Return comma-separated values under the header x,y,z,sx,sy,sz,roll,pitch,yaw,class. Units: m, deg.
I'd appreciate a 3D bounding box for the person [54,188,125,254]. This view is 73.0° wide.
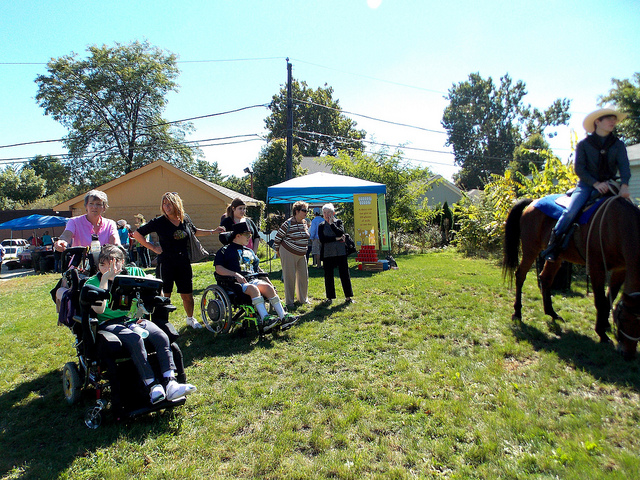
x,y,z,sx,sy,sz,roll,pitch,yaw,class
-3.229,-0.053,6.133,0.786,1.398,0.807,7,-9,-38,person

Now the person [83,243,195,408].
x,y,z,sx,sy,sz,roll,pitch,yaw,class
-2.258,1.011,5.259,1.340,1.783,0.657,6,14,30,person

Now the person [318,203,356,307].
x,y,z,sx,sy,sz,roll,pitch,yaw,class
0.265,0.312,9.003,0.726,2.127,0.593,-2,12,-1,person

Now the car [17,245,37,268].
x,y,z,sx,sy,sz,roll,pitch,yaw,class
-14.242,0.956,21.284,0.732,1.102,1.660,-10,16,-35,car
